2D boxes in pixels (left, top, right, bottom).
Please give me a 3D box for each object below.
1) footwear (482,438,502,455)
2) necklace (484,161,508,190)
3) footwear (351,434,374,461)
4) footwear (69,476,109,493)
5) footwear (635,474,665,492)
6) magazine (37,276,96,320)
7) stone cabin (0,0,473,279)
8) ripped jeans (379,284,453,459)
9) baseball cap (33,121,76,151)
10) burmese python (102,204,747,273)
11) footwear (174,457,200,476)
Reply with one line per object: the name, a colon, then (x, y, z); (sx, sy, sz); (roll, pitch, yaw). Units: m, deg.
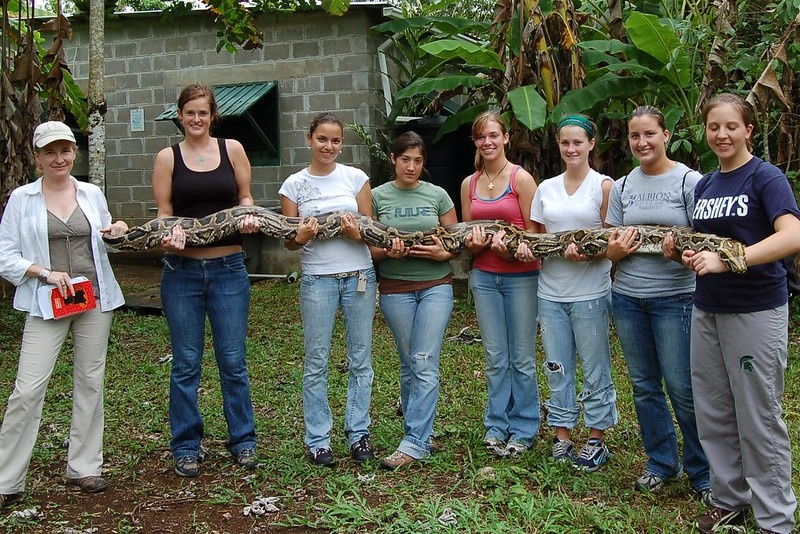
footwear: (1.047, 1.981, 7.798); (0.224, 0.159, 0.134); (0, 10, 8)
necklace: (1.087, -1.023, 7.889); (0.008, 0.290, 0.289); (11, 9, -39)
footwear: (-0.401, 1.966, 7.674); (0.212, 0.235, 0.272); (-4, 10, -17)
footwear: (-3.197, 2.199, 7.231); (0.437, 0.173, 0.157); (-4, -4, 16)
footwear: (2.485, 2.150, 7.101); (0.287, 0.126, 0.143); (4, 8, -21)
magazine: (-3.286, 0.315, 7.048); (0.535, 0.406, 0.197); (-6, 12, -28)
stone cabin: (-2.725, -1.061, 17.640); (9.487, 6.447, 6.056); (-2, -3, 26)
ripped jeans: (0.233, 1.113, 7.785); (0.709, 1.820, 0.741); (-2, 11, -6)
baseball cap: (-3.459, -1.320, 7.099); (0.373, 0.275, 0.349); (7, 13, 39)
burmese python: (0.410, -0.309, 7.460); (4.670, 0.376, 0.967); (4, -1, 1)
footwear: (-2.252, 2.111, 7.513); (0.249, 0.173, 0.218); (-4, 10, -18)
